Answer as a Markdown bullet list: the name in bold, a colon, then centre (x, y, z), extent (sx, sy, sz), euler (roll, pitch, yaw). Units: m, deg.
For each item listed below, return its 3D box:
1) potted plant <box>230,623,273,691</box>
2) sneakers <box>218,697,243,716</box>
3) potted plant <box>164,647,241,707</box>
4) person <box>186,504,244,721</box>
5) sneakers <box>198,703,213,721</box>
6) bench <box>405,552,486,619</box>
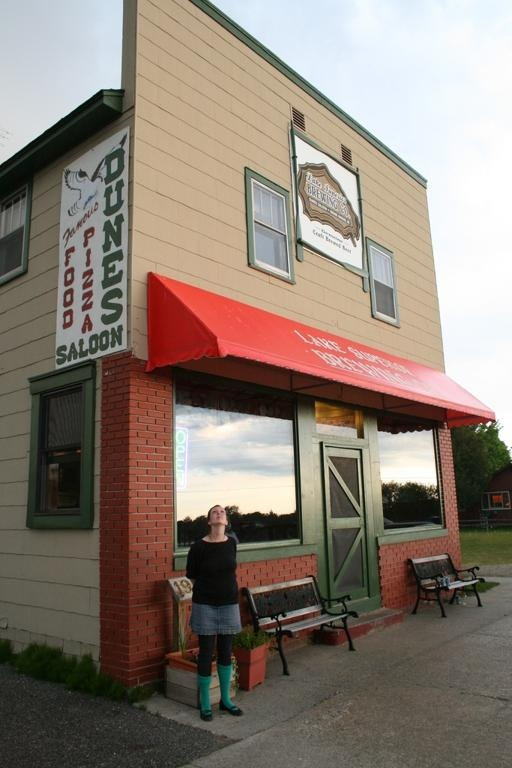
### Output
- **potted plant**: centre (-0.014, 2.613, 4.902), extent (0.329, 0.451, 0.365), euler (2, -23, -20)
- **sneakers**: centre (-0.201, 2.551, 4.105), extent (0.198, 0.085, 0.075), euler (-9, -13, 42)
- **potted plant**: centre (-0.532, 2.535, 4.522), extent (0.431, 0.289, 0.440), euler (-7, -10, 44)
- **person**: centre (-0.331, 1.813, 4.151), extent (0.403, 1.590, 0.309), euler (-4, -12, -5)
- **sneakers**: centre (-0.385, 2.544, 3.999), extent (0.093, 0.093, 0.242), euler (-4, -13, -7)
- **bench**: centre (3.485, 3.673, 9.463), extent (1.628, 0.949, 0.703), euler (13, -20, -42)
